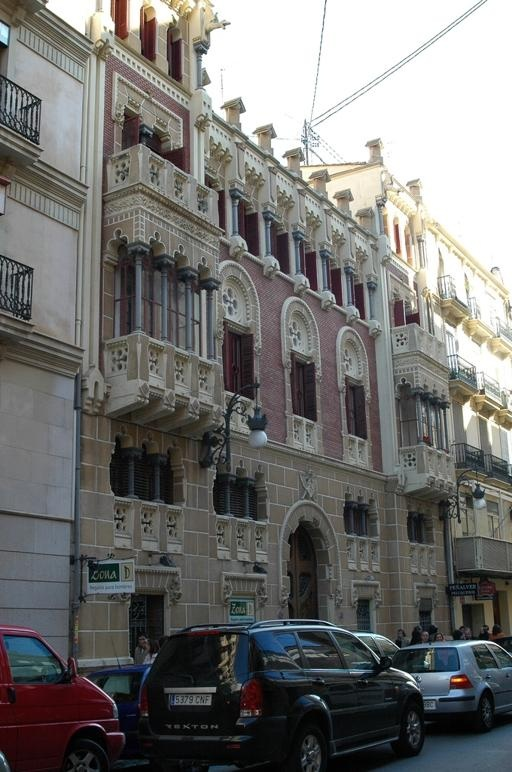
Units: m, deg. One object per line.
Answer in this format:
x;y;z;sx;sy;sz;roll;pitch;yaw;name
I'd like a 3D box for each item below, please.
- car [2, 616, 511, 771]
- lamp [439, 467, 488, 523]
0.597;3.500;10.269;1.861;1.623;4.426;-13;-19;36;car
7.355;3.889;31.926;1.381;1.930;0.375;-5;15;6;lamp
